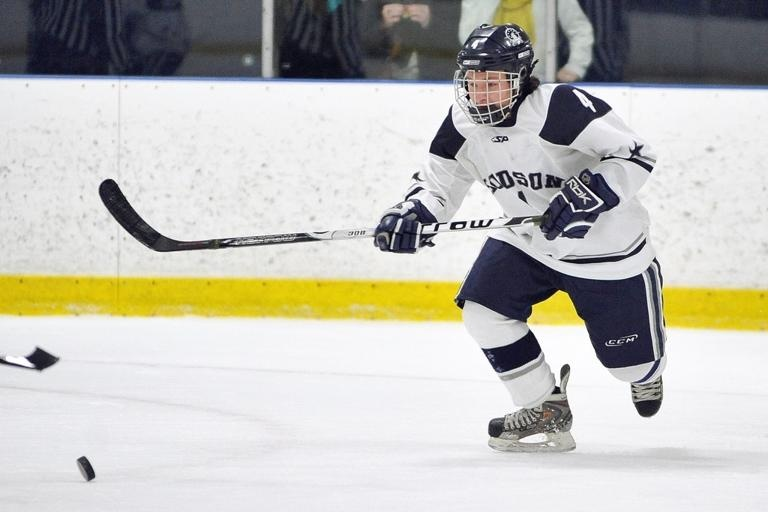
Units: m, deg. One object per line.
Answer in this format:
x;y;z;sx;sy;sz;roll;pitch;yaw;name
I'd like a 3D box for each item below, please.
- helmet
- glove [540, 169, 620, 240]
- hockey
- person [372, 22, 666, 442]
0.452;-0.756;4.490;0.309;0.401;0.243;8;20;14;helmet
0.819;-0.220;4.452;0.218;0.327;0.117;49;21;6;glove
-0.414;-0.196;5.374;2.133;0.276;0.164;-3;-12;-41;hockey
0.624;-0.043;4.529;1.215;1.768;0.514;9;20;15;person
